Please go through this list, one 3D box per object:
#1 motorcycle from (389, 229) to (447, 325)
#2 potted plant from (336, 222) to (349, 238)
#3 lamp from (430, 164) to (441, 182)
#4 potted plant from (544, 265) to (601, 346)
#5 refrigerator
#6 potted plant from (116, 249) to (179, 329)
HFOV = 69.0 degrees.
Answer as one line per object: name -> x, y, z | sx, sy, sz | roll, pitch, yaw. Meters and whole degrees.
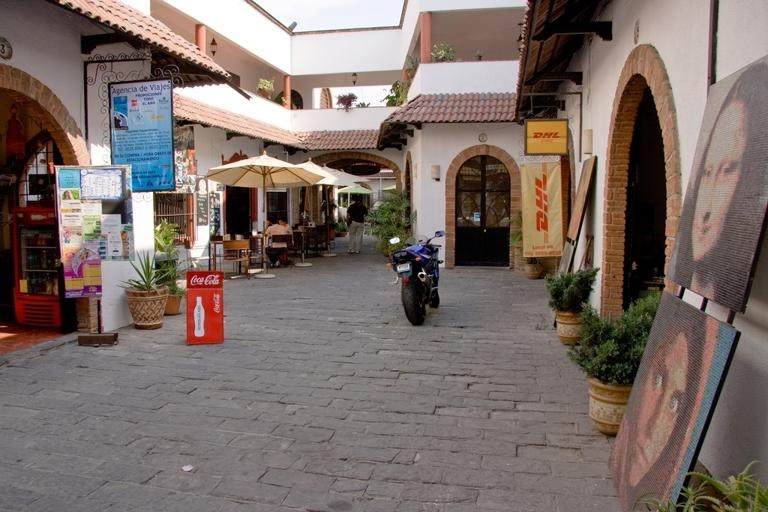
motorcycle -> 0.575, 0.352, 9.794 | 0.594, 1.488, 1.403 | 3, 9, 17
potted plant -> -2.359, -1.533, 31.340 | 0.746, 0.774, 0.741 | 1, 6, 20
lamp -> 1.558, -2.513, 16.756 | 0.275, 0.492, 0.196 | 1, 9, 5
potted plant -> 2.743, 0.716, 8.114 | 0.705, 1.025, 0.709 | -2, -6, 5
refrigerator -> -5.623, 0.173, 9.077 | 1.025, 1.952, 0.435 | 6, 11, 31
potted plant -> -3.975, 0.545, 9.457 | 0.804, 1.170, 0.908 | -3, 10, -17
